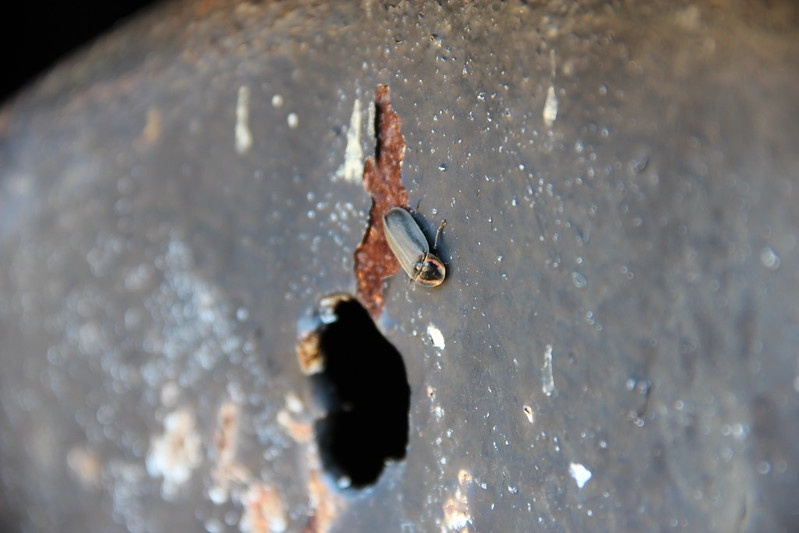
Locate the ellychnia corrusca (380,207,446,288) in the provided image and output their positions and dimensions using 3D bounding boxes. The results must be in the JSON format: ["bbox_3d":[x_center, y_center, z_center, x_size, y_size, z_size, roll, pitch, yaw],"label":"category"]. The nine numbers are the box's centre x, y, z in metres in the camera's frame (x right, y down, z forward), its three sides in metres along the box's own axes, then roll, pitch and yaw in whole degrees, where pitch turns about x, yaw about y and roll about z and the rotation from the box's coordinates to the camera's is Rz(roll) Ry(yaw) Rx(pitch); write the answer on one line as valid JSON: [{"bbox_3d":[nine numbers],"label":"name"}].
[{"bbox_3d":[0.019,-0.027,1.795,0.097,0.027,0.102,-41,70,28],"label":"ellychnia corrusca"}]
